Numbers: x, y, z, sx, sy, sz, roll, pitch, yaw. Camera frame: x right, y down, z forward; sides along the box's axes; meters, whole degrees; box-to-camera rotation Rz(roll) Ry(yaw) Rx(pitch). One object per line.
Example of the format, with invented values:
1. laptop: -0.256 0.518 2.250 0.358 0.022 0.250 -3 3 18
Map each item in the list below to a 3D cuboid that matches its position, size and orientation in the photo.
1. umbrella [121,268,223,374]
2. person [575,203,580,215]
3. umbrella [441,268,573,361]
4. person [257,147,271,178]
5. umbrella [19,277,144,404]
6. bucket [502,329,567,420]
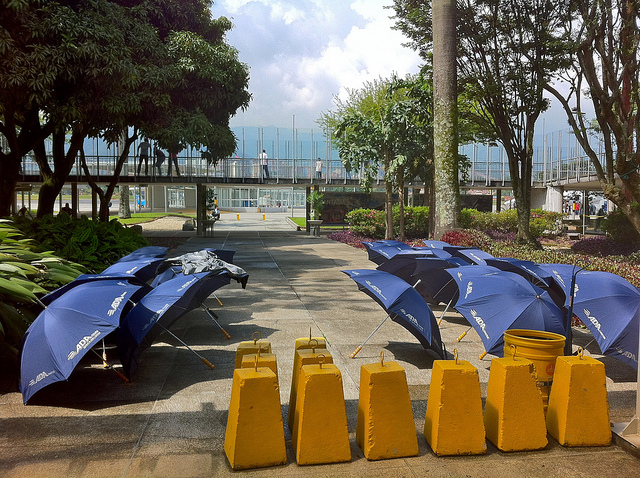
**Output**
1. umbrella: -2.472 1.504 9.896 1.428 1.617 1.764 -15 -3 15
2. person: 24.199 -2.930 57.878 0.210 0.966 0.957 5 1 0
3. umbrella: 2.962 1.159 9.775 1.646 1.062 1.266 3 10 12
4. person: -3.163 -4.366 35.246 0.672 1.408 2.055 0 10 -6
5. umbrella: -3.495 1.497 8.754 1.443 1.386 0.906 -5 11 -31
6. bucket: 3.040 2.054 8.888 0.673 1.221 0.706 3 -12 1
